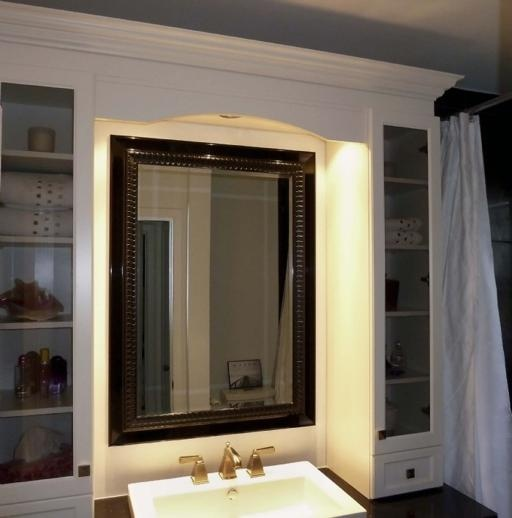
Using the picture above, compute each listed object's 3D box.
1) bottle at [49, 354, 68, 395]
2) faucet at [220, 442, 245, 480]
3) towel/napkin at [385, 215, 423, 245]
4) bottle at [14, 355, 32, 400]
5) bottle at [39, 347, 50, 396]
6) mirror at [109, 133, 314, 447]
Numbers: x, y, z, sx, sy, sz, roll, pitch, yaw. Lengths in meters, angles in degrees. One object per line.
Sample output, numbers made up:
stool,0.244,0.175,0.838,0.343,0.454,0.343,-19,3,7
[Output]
bottle,-0.603,0.329,1.779,0.051,0.125,0.061,1,21,-17
faucet,-0.089,0.702,2.021,0.048,0.128,0.139,0,7,-26
towel/napkin,0.548,-0.101,2.150,0.107,0.115,0.036,-2,3,-22
bottle,-0.698,0.356,1.778,0.030,0.131,0.030,-15,5,1
bottle,-0.635,0.337,1.752,0.031,0.139,0.009,-1,-1,0
mirror,-0.192,0.133,2.148,0.893,1.573,0.067,0,-1,-19
